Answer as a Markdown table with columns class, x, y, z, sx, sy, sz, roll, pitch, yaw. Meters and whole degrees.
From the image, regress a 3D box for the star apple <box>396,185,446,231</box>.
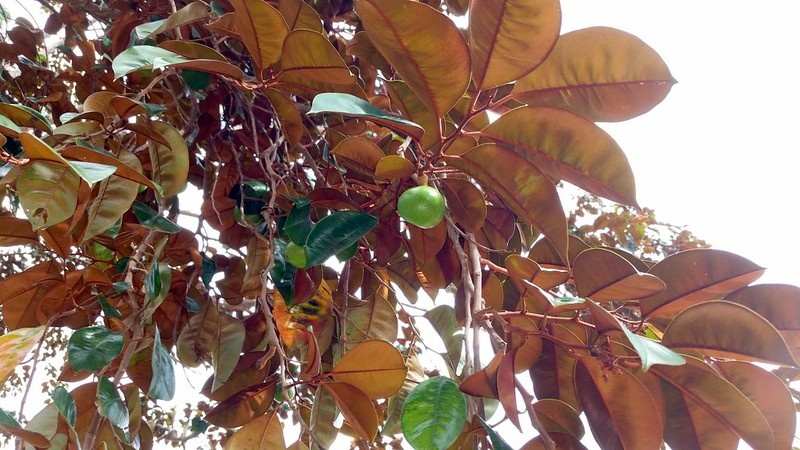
| class | x | y | z | sx | sy | sz | roll | pitch | yaw |
| --- | --- | --- | --- | --- | --- | --- | --- | --- | --- |
| star apple | 0.062 | -0.059 | 1.790 | 0.132 | 0.134 | 0.125 | 2 | -89 | -15 |
